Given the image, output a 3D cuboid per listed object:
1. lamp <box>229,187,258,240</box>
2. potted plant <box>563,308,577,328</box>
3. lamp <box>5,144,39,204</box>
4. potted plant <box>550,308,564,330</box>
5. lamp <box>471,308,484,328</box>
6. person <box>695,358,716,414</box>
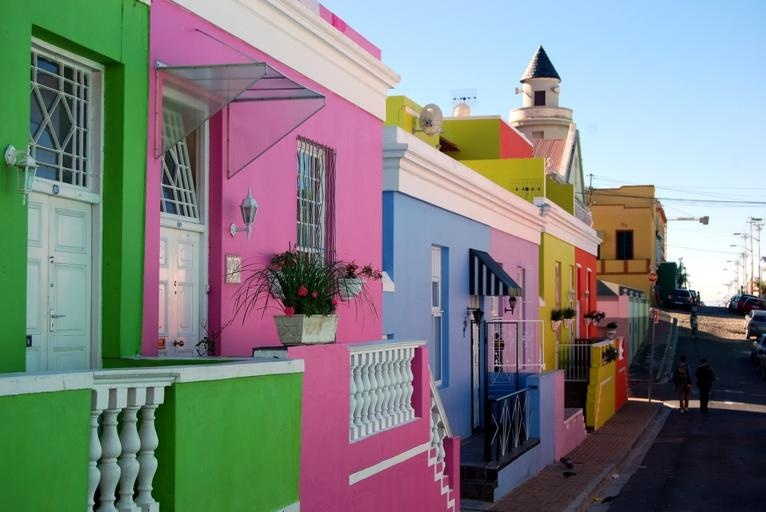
[{"bbox_3d":[-1.859,-0.513,10.533,0.369,0.523,0.209,3,-6,-30],"label":"lamp"},{"bbox_3d":[6.296,2.085,26.792,0.289,0.965,0.693,-2,2,18],"label":"potted plant"},{"bbox_3d":[-3.705,-0.842,8.087,0.213,0.592,0.289,-4,-7,39],"label":"lamp"},{"bbox_3d":[5.472,1.976,24.978,0.296,0.833,0.717,-2,-4,26],"label":"potted plant"},{"bbox_3d":[2.188,1.419,18.159,0.311,0.554,0.386,-1,-1,26],"label":"lamp"},{"bbox_3d":[11.757,4.715,28.906,0.522,1.906,1.593,-2,-6,23],"label":"person"}]
